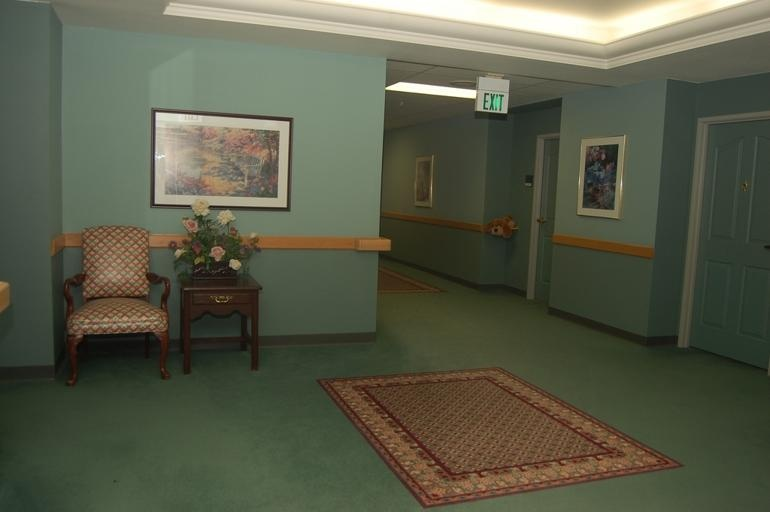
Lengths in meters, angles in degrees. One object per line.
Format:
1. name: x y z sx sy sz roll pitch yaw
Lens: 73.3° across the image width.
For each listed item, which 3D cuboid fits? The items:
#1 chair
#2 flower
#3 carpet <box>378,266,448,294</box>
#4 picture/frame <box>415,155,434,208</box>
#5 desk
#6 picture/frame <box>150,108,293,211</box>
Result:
1. chair: -2.827 0.462 5.596 1.086 1.448 1.145 3 7 -9
2. flower: -1.943 -0.117 6.081 0.915 0.613 0.638 -9 14 11
3. carpet: 0.459 0.573 10.219 1.195 0.125 1.463 1 14 -4
4. picture/frame: 0.866 -1.716 11.741 0.024 0.929 0.694 -6 15 -27
5. desk: -1.912 0.748 5.965 0.999 0.891 0.995 5 5 44
6. picture/frame: -2.029 -1.169 6.167 1.319 0.883 0.039 0 9 -14
